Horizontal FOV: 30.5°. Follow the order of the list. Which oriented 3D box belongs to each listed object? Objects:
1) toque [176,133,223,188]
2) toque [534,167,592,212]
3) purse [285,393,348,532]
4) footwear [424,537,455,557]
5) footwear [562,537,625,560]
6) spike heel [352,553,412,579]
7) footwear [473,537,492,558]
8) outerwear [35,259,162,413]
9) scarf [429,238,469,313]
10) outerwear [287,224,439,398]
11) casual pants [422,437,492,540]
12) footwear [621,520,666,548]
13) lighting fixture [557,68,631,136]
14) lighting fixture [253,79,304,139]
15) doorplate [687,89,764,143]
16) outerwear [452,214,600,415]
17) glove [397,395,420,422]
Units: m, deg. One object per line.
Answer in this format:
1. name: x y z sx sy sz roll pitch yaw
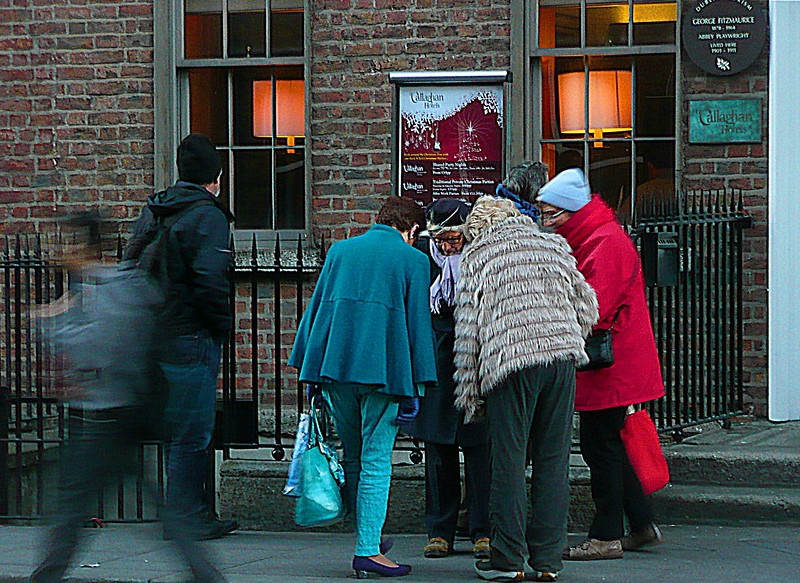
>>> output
1. toque: -1.555 -1.017 11.034 0.385 0.347 0.342 16 30 28
2. toque: 1.165 -0.732 10.470 0.372 0.230 0.251 4 10 -4
3. purse: -0.609 1.183 10.342 0.425 0.821 0.406 -1 5 -4
4. footwear: 0.282 1.832 10.579 0.105 0.087 0.222 2 3 14
5. footwear: 1.374 1.826 10.471 0.409 0.159 0.156 2 -3 -1
6. spike heel: -0.140 1.899 10.227 0.452 0.186 0.146 -3 1 -8
7. footwear: 0.577 1.803 10.413 0.106 0.129 0.141 2 1 6
8. outerwear: -1.882 0.291 9.541 0.679 0.927 0.218 -1 1 -7
9. scarf: 0.322 -0.112 10.451 0.276 0.516 0.109 4 -11 0
10. outerwear: -0.165 0.096 10.268 1.137 1.071 0.516 10 7 29
11. casual pants: 0.414 1.442 10.538 0.464 0.235 0.983 5 41 -1
12. footwear: 1.739 1.772 10.651 0.366 0.147 0.129 -20 15 13
13. lighting fixture: 1.717 -1.672 12.970 0.597 0.415 0.583 -4 7 -44
14. lighting fixture: -1.139 -1.705 13.516 0.571 0.496 0.298 3 8 5
15. doorplate: 2.791 -1.495 12.496 0.501 0.309 0.051 0 4 9
16. outerwear: 0.777 0.124 10.354 1.355 1.560 1.106 -1 7 -4
17. glove: 0.049 0.797 10.157 0.185 0.212 0.127 7 9 9
